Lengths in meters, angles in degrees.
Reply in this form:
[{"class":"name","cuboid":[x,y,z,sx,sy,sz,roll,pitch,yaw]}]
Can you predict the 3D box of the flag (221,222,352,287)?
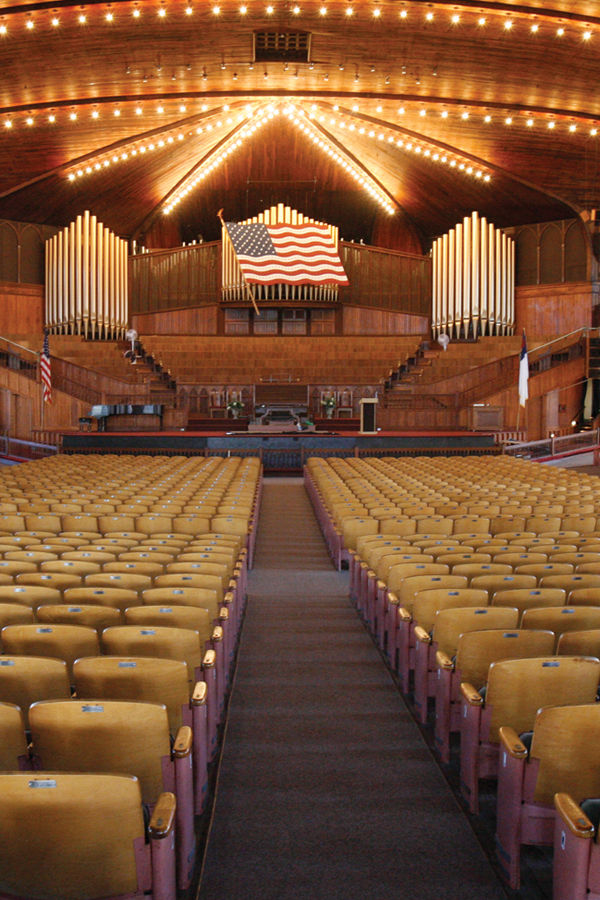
[{"class":"flag","cuboid":[-0.641,-6.166,22.808,2.133,1.824,0.158,-5,2,5]}]
